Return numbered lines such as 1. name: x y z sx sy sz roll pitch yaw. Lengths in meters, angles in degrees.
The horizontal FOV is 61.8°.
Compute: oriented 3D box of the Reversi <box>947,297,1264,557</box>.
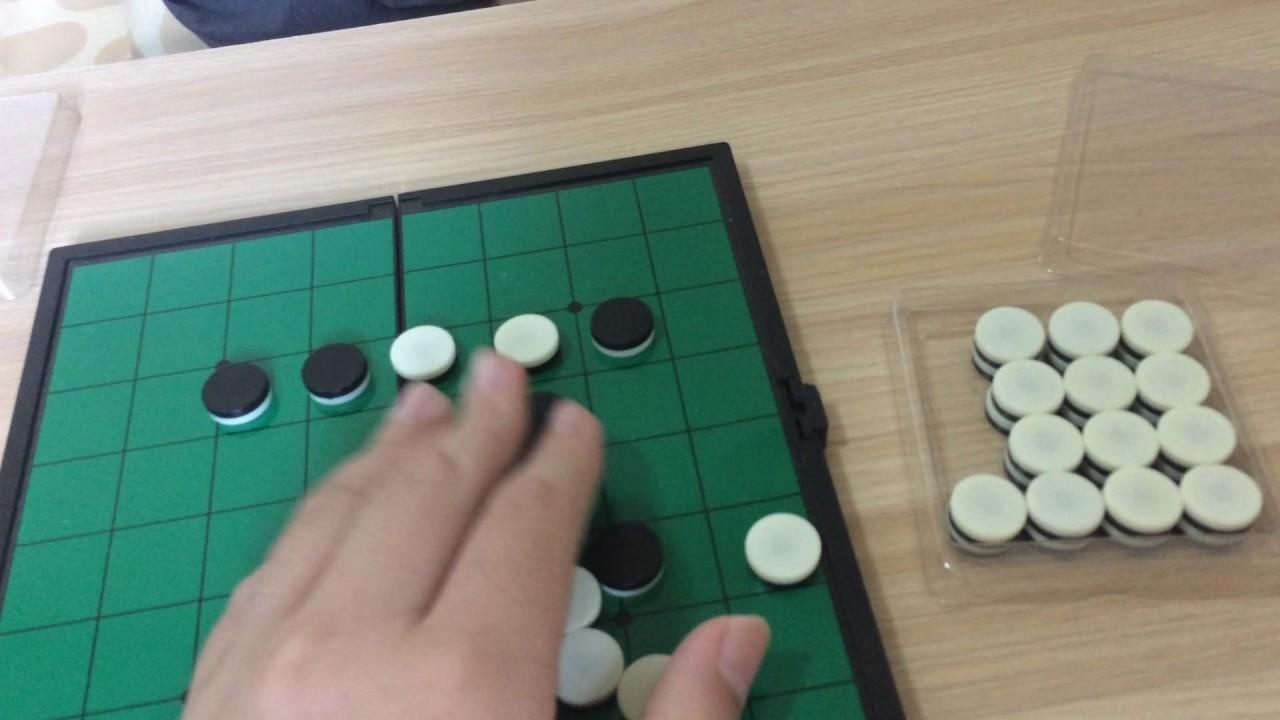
1. Reversi: 0.863 0.128 1.927 0.537 0.115 0.447 -2 81 5
